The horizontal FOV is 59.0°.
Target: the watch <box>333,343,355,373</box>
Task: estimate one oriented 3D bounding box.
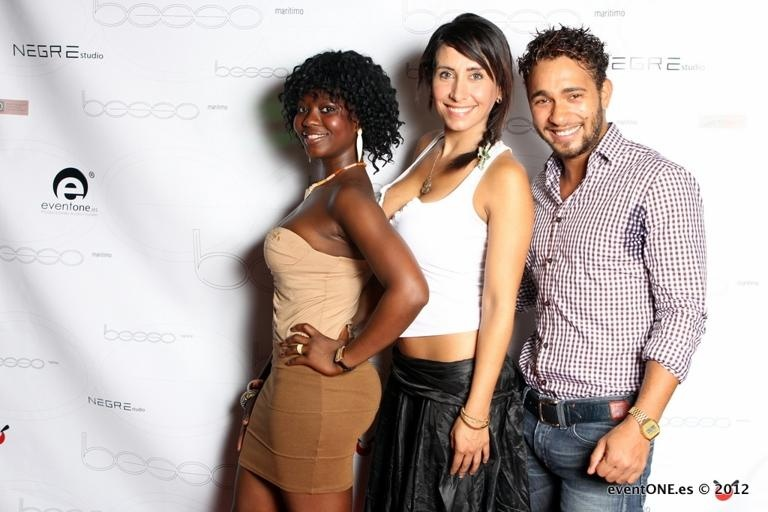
[{"bbox_3d":[-0.151,0.375,2.495,0.068,0.092,0.033,26,4,-1],"label":"watch"}]

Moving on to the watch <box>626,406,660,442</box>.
[{"bbox_3d":[0.884,0.567,2.310,0.096,0.058,0.095,48,4,-18],"label":"watch"}]

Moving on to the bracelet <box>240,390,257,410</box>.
[{"bbox_3d":[-0.560,0.599,2.757,0.033,0.083,0.064,36,9,-7],"label":"bracelet"}]

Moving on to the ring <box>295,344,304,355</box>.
[{"bbox_3d":[-0.308,0.340,2.469,0.027,0.036,0.014,2,2,20],"label":"ring"}]
